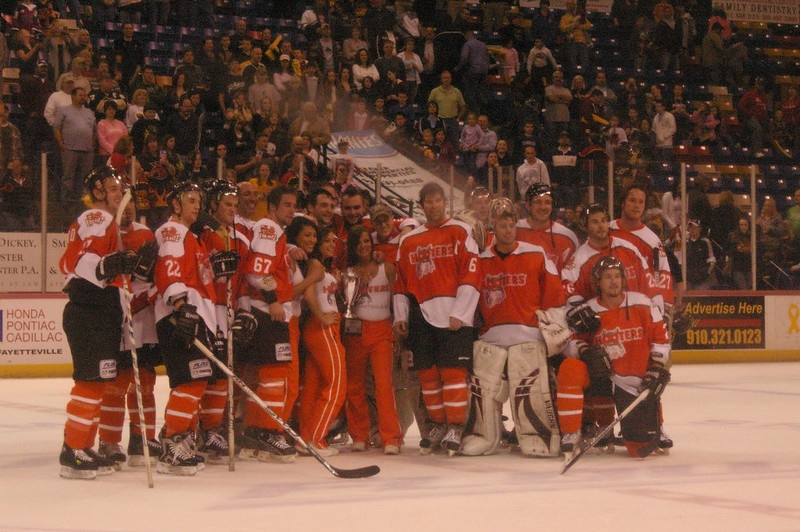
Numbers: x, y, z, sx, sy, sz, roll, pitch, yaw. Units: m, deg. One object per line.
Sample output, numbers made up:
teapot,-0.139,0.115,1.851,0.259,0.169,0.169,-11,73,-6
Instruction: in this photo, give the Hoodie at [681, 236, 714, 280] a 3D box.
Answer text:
Hoodie,5.246,-0.172,20.596,0.741,0.854,0.356,3,39,24

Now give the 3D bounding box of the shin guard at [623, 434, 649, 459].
shin guard,2.820,2.155,13.692,0.287,0.209,0.221,-14,13,-10

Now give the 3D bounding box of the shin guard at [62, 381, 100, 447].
shin guard,-3.540,1.679,13.003,0.435,0.754,0.428,0,-3,-22

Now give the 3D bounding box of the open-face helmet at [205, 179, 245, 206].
open-face helmet,-2.120,-0.894,13.787,0.378,0.209,0.291,-9,-8,33

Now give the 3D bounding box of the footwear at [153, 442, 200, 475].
footwear,-2.494,2.164,13.206,0.641,0.377,0.360,1,2,30

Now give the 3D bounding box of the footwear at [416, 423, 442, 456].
footwear,0.383,2.099,14.009,0.295,0.357,0.219,-1,-3,9

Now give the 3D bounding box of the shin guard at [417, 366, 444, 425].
shin guard,0.378,1.586,14.086,0.324,0.696,0.145,-1,-2,0

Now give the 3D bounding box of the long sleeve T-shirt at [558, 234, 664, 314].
long sleeve T-shirt,2.576,0.135,14.070,0.953,0.756,0.327,-8,-17,-9

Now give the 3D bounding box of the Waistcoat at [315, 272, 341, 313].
Waistcoat,-0.859,0.332,14.135,0.167,0.483,0.315,-3,-3,41

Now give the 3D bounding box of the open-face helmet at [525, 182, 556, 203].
open-face helmet,1.718,-0.919,14.420,0.317,0.247,0.299,-1,-3,14

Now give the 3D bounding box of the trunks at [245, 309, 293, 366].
trunks,-1.573,0.858,13.715,0.735,0.627,0.388,1,-1,9

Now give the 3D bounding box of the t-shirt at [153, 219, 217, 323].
t-shirt,-2.466,0.098,13.218,0.504,1.307,0.736,-30,-40,28

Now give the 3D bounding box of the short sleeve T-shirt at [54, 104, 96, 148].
short sleeve T-shirt,-5.352,-2.306,19.264,0.744,0.772,0.475,0,7,-40

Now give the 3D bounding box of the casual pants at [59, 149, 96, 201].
casual pants,-5.140,-1.457,18.481,0.525,0.837,0.342,0,-3,-22

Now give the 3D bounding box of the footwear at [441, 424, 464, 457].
footwear,0.621,2.084,13.841,0.174,0.179,0.484,1,-16,9

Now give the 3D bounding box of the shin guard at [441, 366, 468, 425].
shin guard,0.647,1.578,13.953,0.304,0.687,0.157,0,-2,-12

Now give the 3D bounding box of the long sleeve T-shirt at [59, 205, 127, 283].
long sleeve T-shirt,-3.482,-0.227,13.295,0.790,0.850,1.191,7,5,-5

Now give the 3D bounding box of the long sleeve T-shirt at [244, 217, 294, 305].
long sleeve T-shirt,-1.663,-0.032,14.169,0.600,1.154,1.249,-2,1,-1

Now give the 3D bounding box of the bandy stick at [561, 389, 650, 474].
bandy stick,2.414,1.955,13.643,1.334,0.070,0.186,-36,21,-8

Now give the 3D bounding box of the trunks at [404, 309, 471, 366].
trunks,0.503,0.998,14.298,1.033,0.876,0.587,-4,-7,24

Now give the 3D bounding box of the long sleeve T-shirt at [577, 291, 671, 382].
long sleeve T-shirt,2.704,0.764,13.935,1.255,0.461,1.329,-10,35,-19

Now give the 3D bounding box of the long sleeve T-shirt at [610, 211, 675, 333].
long sleeve T-shirt,2.921,0.143,14.486,0.925,1.973,0.679,-7,-32,23

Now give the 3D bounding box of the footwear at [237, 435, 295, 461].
footwear,-1.591,2.182,13.787,0.798,0.412,0.268,-1,-5,14

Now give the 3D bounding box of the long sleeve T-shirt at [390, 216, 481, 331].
long sleeve T-shirt,0.451,0.141,14.134,1.424,1.707,0.949,-2,-10,10

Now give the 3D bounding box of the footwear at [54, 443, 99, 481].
footwear,-3.591,2.174,12.960,0.591,0.380,0.192,2,-2,31
